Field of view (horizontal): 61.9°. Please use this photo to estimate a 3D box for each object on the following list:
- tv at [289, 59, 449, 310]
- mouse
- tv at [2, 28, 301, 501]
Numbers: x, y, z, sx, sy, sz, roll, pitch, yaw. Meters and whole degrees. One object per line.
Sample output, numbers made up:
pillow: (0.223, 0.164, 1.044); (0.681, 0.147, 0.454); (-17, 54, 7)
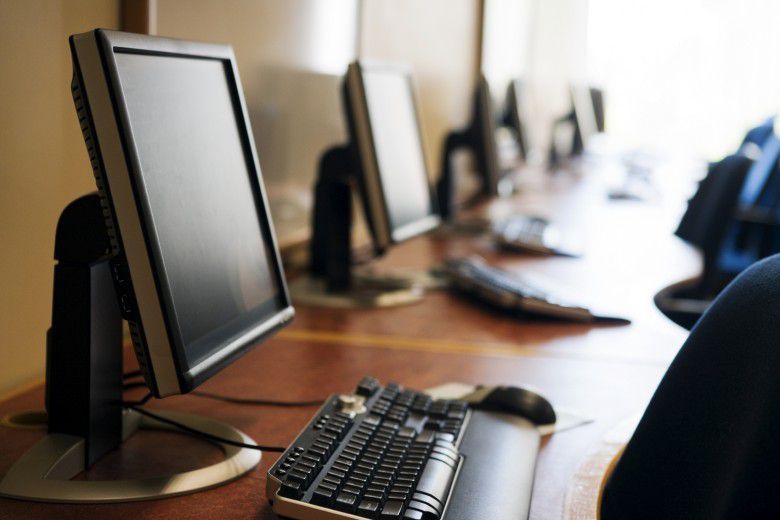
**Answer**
tv: (-0.014, -0.158, 1.594); (0.422, 0.648, 0.508); (2, 9, 14)
mouse: (0.192, 0.220, 1.034); (0.126, 0.042, 0.073); (16, 10, 7)
tv: (-0.377, 0.015, 1.242); (0.497, 0.898, 0.639); (2, 6, 8)
